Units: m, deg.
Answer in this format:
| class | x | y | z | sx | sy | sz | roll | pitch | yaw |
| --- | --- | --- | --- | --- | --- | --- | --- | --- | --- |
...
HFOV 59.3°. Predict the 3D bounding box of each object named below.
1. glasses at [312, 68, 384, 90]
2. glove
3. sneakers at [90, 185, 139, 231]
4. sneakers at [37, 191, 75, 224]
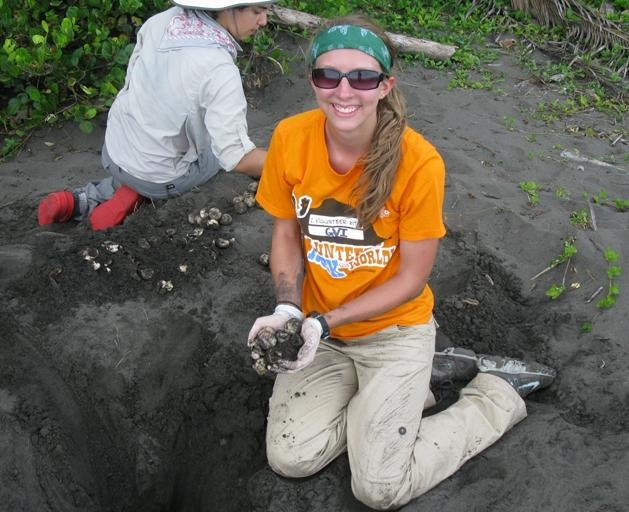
| class | x | y | z | sx | sy | sz | roll | pitch | yaw |
| --- | --- | --- | --- | --- | --- | --- | --- | --- | --- |
| glasses | 0.156 | -0.902 | 2.817 | 0.357 | 0.116 | 0.094 | 9 | 43 | 4 |
| glove | -0.150 | 0.514 | 3.164 | 0.398 | 0.199 | 0.330 | -24 | 53 | 4 |
| sneakers | -1.579 | -0.378 | 4.374 | 0.240 | 0.197 | 0.437 | 30 | 39 | 8 |
| sneakers | -2.115 | -0.388 | 4.575 | 0.244 | 0.304 | 0.237 | -5 | 69 | -47 |
